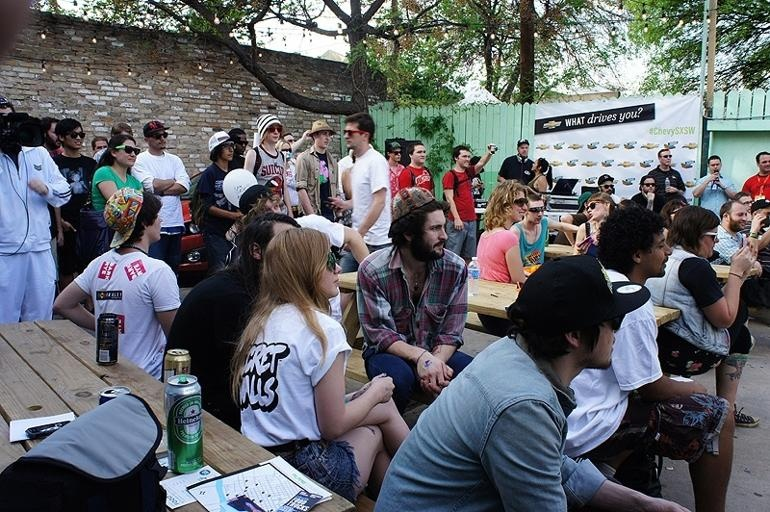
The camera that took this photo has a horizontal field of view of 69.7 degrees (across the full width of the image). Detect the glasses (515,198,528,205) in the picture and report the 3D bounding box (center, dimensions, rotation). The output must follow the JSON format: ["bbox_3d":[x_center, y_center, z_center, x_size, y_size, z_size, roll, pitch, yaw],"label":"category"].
[{"bbox_3d":[1.470,-0.587,5.969,0.099,0.040,0.102,1,2,-25],"label":"glasses"}]

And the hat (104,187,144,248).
[{"bbox_3d":[-1.864,-0.268,3.944,0.249,0.416,0.298,-2,14,-25],"label":"hat"}]

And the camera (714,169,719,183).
[{"bbox_3d":[5.937,-1.426,9.855,0.104,0.152,0.053,7,-19,3],"label":"camera"}]

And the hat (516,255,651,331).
[{"bbox_3d":[0.862,0.151,2.462,0.469,0.183,0.332,-16,12,-18],"label":"hat"}]

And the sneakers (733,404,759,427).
[{"bbox_3d":[3.250,1.433,4.972,0.267,0.164,0.116,-5,5,-22],"label":"sneakers"}]

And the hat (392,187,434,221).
[{"bbox_3d":[0.204,-0.379,4.067,0.300,0.254,0.216,4,12,0],"label":"hat"}]
